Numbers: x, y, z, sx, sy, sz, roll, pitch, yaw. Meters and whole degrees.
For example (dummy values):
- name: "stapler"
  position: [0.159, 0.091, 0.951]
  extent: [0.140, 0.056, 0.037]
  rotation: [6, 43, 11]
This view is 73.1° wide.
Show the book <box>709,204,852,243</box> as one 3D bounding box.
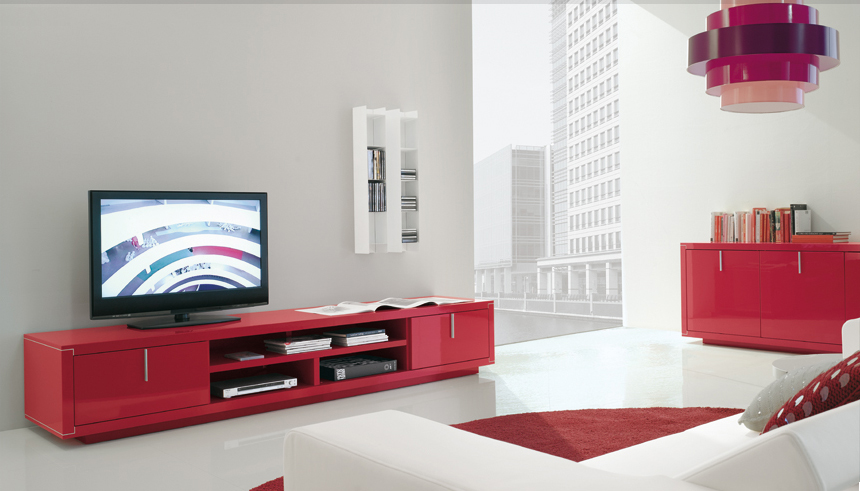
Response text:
- name: "book"
  position: [3.967, -0.242, 6.690]
  extent: [1.346, 0.436, 0.398]
  rotation: [3, 8, 30]

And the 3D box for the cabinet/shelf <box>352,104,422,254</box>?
- name: "cabinet/shelf"
  position: [-0.457, -0.660, 5.994]
  extent: [0.739, 1.495, 0.419]
  rotation: [-3, 8, -18]

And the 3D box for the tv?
- name: "tv"
  position: [-2.142, 0.116, 4.798]
  extent: [1.350, 0.836, 0.368]
  rotation: [-2, -2, -32]
